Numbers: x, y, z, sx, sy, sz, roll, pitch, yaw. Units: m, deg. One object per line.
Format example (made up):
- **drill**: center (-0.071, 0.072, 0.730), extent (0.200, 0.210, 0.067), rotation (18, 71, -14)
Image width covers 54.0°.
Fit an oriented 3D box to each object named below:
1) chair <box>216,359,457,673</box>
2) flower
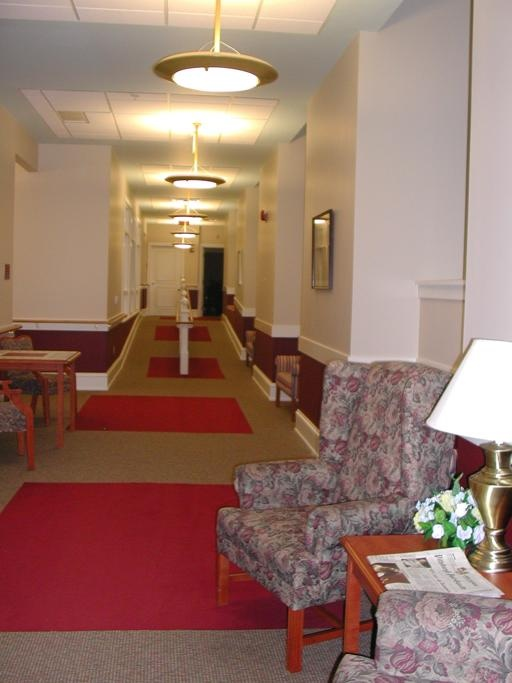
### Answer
- **chair**: center (0.354, 0.577, 2.521), extent (1.078, 1.476, 1.205), rotation (1, 1, -18)
- **flower**: center (0.605, 0.528, 1.629), extent (0.196, 0.209, 0.189), rotation (7, 4, 13)
